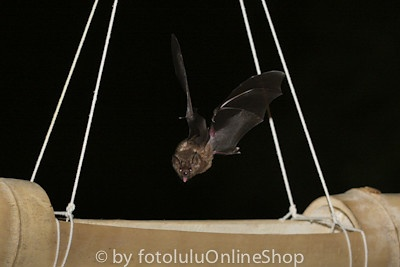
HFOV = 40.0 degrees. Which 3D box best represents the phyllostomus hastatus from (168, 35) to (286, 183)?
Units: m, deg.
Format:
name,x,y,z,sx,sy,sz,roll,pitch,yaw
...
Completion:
name,x,y,z,sx,sy,sz,roll,pitch,yaw
phyllostomus hastatus,0.047,-0.094,1.935,0.453,0.504,0.299,25,31,31
